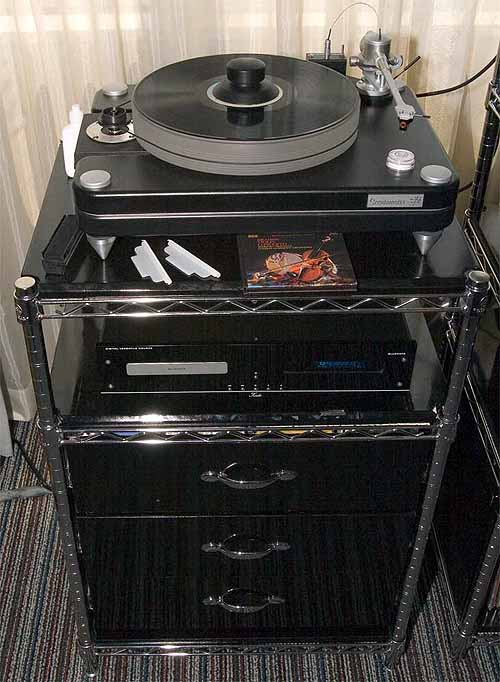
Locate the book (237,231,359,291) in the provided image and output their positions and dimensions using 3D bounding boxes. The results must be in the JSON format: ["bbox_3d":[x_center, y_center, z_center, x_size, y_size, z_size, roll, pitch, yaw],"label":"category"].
[{"bbox_3d":[0.052,-0.097,0.636,0.131,0.015,0.146,-3,37,-2],"label":"book"}]

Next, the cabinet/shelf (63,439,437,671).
[{"bbox_3d":[-0.003,0.349,1.062,0.599,0.597,0.387,0,49,1],"label":"cabinet/shelf"}]
